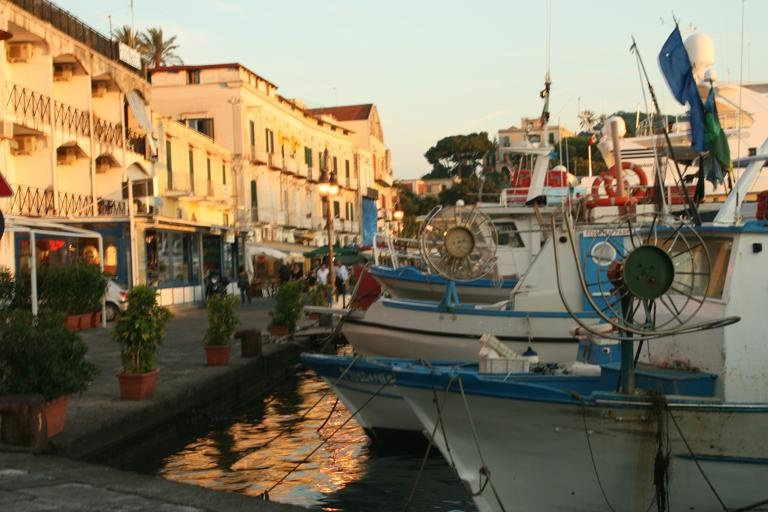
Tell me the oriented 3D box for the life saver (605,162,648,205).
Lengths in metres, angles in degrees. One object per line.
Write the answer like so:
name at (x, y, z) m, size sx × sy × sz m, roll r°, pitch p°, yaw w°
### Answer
life saver at (6.964, -2.166, 32.703) m, size 0.378 × 1.530 × 1.436 m, roll -6°, pitch 3°, yaw -34°
